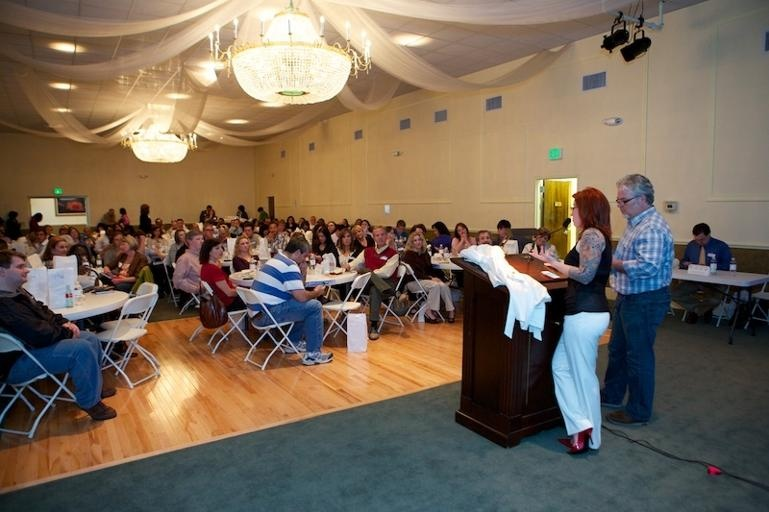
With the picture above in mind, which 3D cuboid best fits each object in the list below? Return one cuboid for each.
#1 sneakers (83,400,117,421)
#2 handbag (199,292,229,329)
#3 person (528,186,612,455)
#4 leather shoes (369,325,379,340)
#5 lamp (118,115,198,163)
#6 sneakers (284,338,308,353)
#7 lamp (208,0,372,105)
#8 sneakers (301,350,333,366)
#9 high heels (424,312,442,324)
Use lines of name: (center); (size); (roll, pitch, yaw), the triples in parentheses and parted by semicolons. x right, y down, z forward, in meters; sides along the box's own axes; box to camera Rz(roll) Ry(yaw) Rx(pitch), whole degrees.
sneakers: (-3.304, 1.788, 6.042); (0.400, 0.164, 0.154); (6, 11, -16)
handbag: (-2.603, 0.784, 7.758); (0.396, 0.533, 0.293); (-2, 8, 30)
person: (1.980, 0.657, 5.335); (0.678, 2.678, 0.518); (-5, 8, -29)
leather shoes: (-0.190, 1.238, 8.412); (0.155, 0.157, 0.432); (0, -7, -5)
lamp: (-5.560, -2.711, 12.811); (1.555, 0.763, 1.559); (-1, 2, 37)
sneakers: (-1.339, 1.349, 7.721); (0.399, 0.255, 0.196); (-3, 4, -11)
lamp: (-1.331, -2.649, 7.739); (1.940, 1.290, 1.962); (0, 4, -4)
sneakers: (-0.964, 1.412, 7.387); (0.458, 0.215, 0.167); (-2, 5, -23)
high heels: (0.837, 1.105, 9.218); (0.154, 0.112, 0.274); (2, -4, -33)
